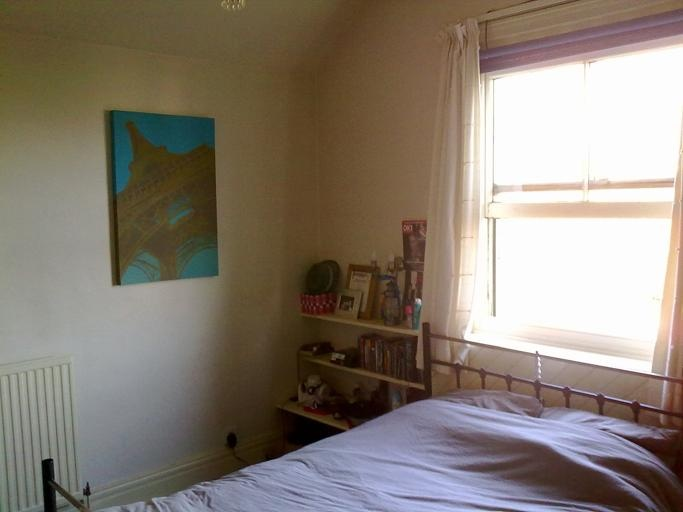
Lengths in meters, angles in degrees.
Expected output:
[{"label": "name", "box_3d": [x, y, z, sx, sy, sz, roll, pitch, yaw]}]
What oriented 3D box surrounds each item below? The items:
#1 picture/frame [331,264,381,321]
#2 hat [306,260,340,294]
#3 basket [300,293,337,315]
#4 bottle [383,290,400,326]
[{"label": "picture/frame", "box_3d": [0.110, 0.254, 3.803, 0.389, 0.533, 0.057, 0, -18, 42]}, {"label": "hat", "box_3d": [-0.140, 0.168, 3.976, 0.243, 0.231, 0.057, 32, 11, 38]}, {"label": "basket", "box_3d": [-0.164, 0.345, 3.988, 0.171, 0.113, 0.174, 1, 2, 37]}, {"label": "bottle", "box_3d": [0.320, 0.331, 3.550, 0.102, 0.214, 0.112, -1, 6, 0]}]
